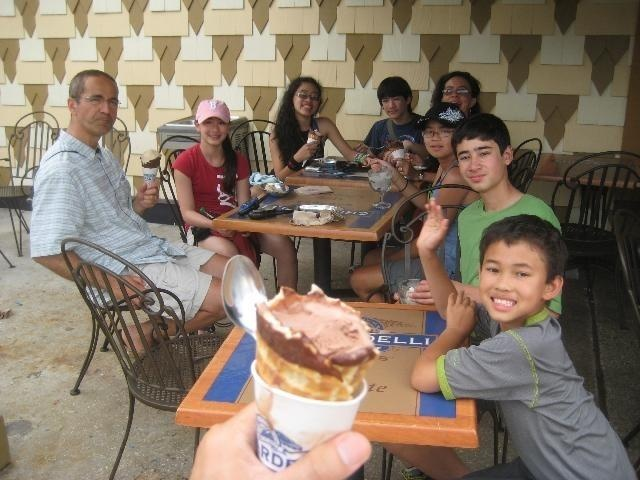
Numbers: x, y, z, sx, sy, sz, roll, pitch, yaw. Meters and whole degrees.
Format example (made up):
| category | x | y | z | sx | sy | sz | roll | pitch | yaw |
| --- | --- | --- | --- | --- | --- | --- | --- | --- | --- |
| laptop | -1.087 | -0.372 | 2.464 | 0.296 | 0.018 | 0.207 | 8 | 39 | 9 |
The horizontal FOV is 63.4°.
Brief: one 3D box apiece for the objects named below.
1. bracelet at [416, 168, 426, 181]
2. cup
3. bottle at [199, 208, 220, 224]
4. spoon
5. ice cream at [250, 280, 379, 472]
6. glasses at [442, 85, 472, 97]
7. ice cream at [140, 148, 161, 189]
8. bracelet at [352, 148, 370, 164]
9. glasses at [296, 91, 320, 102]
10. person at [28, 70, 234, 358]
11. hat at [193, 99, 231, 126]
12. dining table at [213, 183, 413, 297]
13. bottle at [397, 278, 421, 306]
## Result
| category | x | y | z | sx | sy | sz | roll | pitch | yaw |
| --- | --- | --- | --- | --- | --- | --- | --- | --- | --- |
| bracelet | 0.749 | -0.485 | 3.878 | 0.077 | 0.031 | 0.129 | 8 | 30 | 12 |
| cup | -0.036 | 0.281 | 0.831 | 0.171 | 0.138 | 0.178 | 18 | 3 | -1 |
| bottle | -0.725 | -0.138 | 3.375 | 0.098 | 0.045 | 0.135 | 30 | 3 | 32 |
| spoon | -0.129 | 0.087 | 0.862 | 0.056 | 0.177 | 0.023 | 2 | -26 | -34 |
| ice cream | -0.019 | 0.228 | 0.807 | 0.173 | 0.270 | 0.158 | 9 | 19 | 0 |
| glasses | 1.131 | -1.223 | 4.287 | 0.223 | 0.071 | 0.109 | 7 | 13 | 13 |
| ice cream | -0.975 | -0.336 | 2.974 | 0.121 | 0.321 | 0.111 | -3 | 7 | -18 |
| bracelet | 0.330 | -0.667 | 4.237 | 0.158 | 0.082 | 0.211 | -2 | 15 | -4 |
| glasses | -0.099 | -1.183 | 4.298 | 0.206 | 0.066 | 0.067 | -1 | 14 | -20 |
| person | -1.014 | -0.196 | 2.753 | 0.876 | 1.346 | 0.613 | -2 | 14 | -21 |
| hat | -0.747 | -0.892 | 3.610 | 0.240 | 0.177 | 0.391 | 3 | 4 | -11 |
| dining table | 0.061 | 0.095 | 3.218 | 0.706 | 0.698 | 0.715 | 12 | 33 | 20 |
| bottle | 0.370 | 0.215 | 2.162 | 0.084 | 0.076 | 0.093 | -1 | 10 | -1 |
